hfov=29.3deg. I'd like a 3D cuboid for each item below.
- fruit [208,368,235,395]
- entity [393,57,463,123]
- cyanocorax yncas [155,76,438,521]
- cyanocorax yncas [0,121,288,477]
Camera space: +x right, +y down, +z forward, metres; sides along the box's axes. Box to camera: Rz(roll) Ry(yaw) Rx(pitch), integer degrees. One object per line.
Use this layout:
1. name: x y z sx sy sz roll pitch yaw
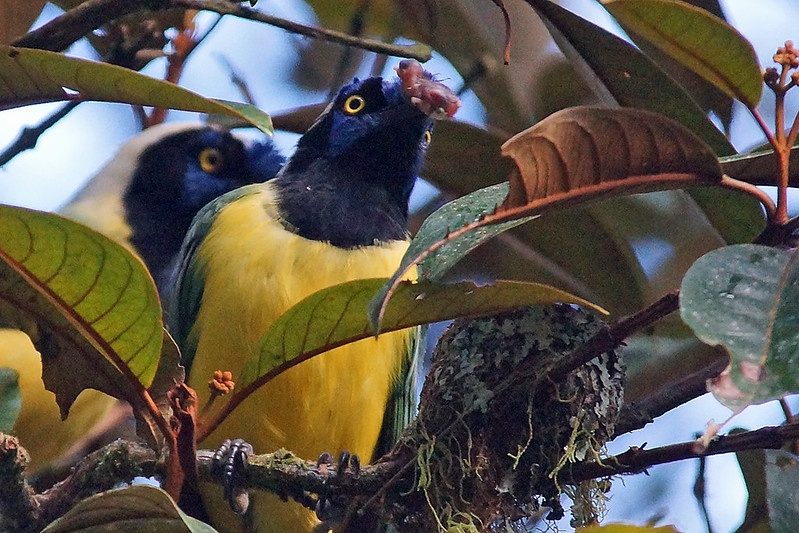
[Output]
1. fruit: -0.386 0.258 3.333 0.061 0.045 0.050 17 -22 -13
2. entity: 0.065 -0.452 4.069 0.228 0.083 0.130 21 2 26
3. cyanocorax yncas: -0.262 0.142 4.113 0.738 1.404 0.793 12 -40 -7
4. cyanocorax yncas: -0.475 -0.052 4.261 0.966 0.985 0.468 -1 -17 2
